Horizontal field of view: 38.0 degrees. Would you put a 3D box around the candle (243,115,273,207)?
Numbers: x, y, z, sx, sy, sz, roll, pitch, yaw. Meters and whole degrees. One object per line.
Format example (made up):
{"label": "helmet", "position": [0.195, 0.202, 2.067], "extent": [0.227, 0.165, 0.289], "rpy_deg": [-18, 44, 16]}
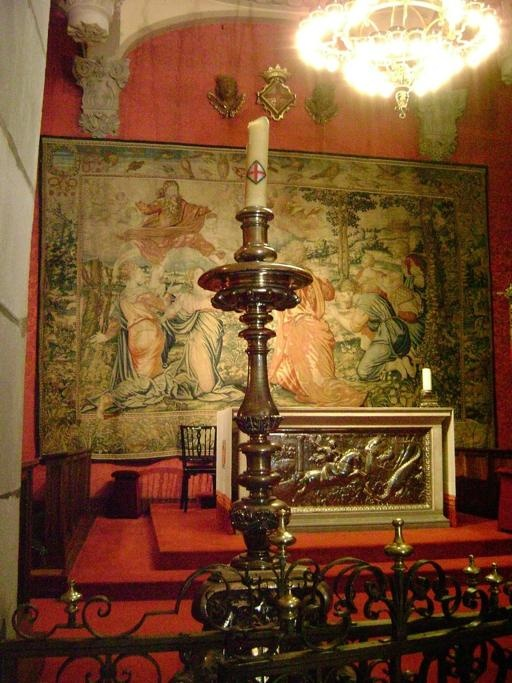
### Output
{"label": "candle", "position": [0.000, -0.487, 1.999], "extent": [0.057, 0.301, 0.178], "rpy_deg": [2, -4, -2]}
